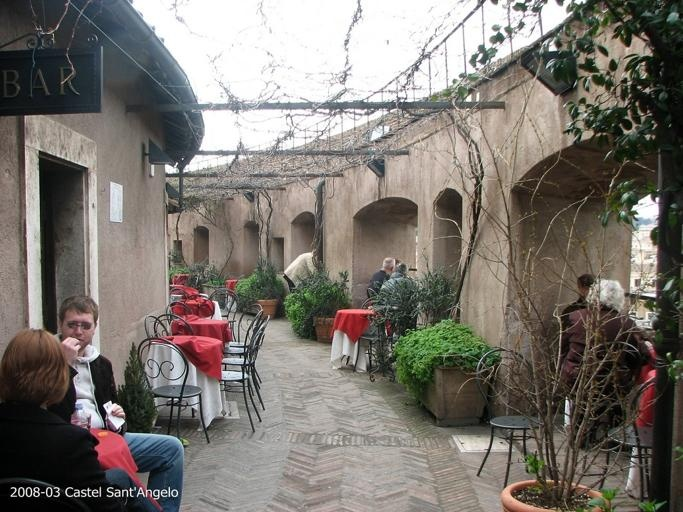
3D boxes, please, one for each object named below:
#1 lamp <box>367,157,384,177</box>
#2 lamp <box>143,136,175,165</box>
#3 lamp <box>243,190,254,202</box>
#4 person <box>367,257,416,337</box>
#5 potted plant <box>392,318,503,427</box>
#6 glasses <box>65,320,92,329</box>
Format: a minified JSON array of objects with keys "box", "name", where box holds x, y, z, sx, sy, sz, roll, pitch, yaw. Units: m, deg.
[{"box":[0.665,-1.633,11.111,0.284,0.341,0.534,2,4,29],"name":"lamp"},{"box":[-2.430,-1.441,8.004,0.262,0.362,0.487,0,-1,-11],"name":"lamp"},{"box":[-2.851,-1.837,18.576,0.286,0.248,0.297,2,-6,-36],"name":"lamp"},{"box":[0.688,0.629,9.703,1.016,1.401,0.964,-3,-4,21],"name":"person"},{"box":[1.267,1.357,7.053,0.891,1.046,1.381,-3,0,-8],"name":"potted plant"},{"box":[-1.869,0.498,4.265,0.159,0.073,0.033,0,4,-12],"name":"glasses"}]
